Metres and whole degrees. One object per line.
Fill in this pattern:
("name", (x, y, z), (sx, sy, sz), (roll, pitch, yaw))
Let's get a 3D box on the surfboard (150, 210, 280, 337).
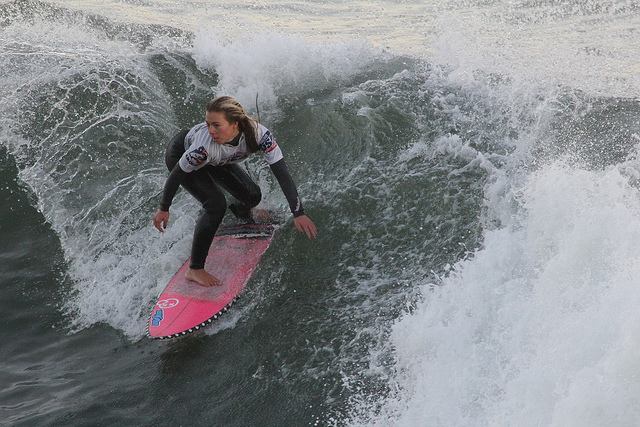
("surfboard", (-1.545, 0.923, 10.428), (0.850, 0.374, 2.598), (17, 47, 17))
